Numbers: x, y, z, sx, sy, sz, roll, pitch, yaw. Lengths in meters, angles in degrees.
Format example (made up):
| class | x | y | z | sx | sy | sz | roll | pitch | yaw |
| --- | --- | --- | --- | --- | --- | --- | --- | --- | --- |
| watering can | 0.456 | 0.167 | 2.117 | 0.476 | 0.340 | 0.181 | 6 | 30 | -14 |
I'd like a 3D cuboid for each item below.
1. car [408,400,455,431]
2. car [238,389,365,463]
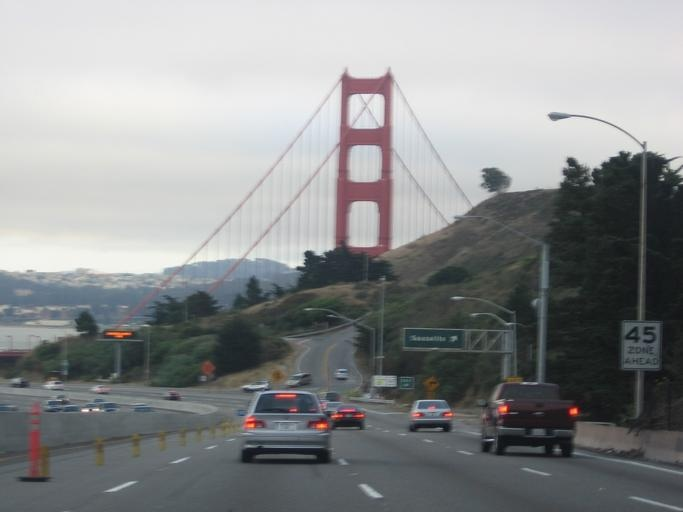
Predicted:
| class | x | y | z | sx | sy | sz | roll | pitch | yaw |
| --- | --- | --- | --- | --- | --- | --- | --- | --- | --- |
| car | 4.385 | 7.703 | 63.885 | 1.996 | 1.541 | 1.555 | 2 | -6 | 0 |
| car | -1.987 | 5.820 | 46.725 | 2.969 | 1.984 | 6.092 | 0 | -3 | -2 |
